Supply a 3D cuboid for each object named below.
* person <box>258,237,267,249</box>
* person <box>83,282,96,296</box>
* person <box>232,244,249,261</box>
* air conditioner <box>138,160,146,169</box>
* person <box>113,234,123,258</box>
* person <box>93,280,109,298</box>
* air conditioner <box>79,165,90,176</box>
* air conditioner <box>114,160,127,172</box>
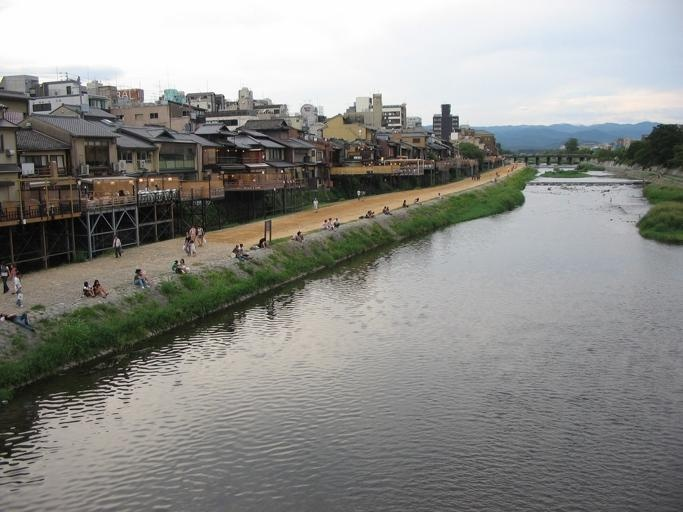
[{"bbox_3d":[-6.004,-0.927,48.600,0.530,0.865,0.847,3,-6,-34],"label":"person"},{"bbox_3d":[-13.548,1.739,34.369,0.576,0.787,0.805,-7,10,-22],"label":"person"},{"bbox_3d":[-7.156,-0.248,45.330,0.955,1.542,0.669,-2,7,5],"label":"person"},{"bbox_3d":[-16.507,-7.606,53.232,0.490,0.779,0.374,-5,9,-12],"label":"air conditioner"},{"bbox_3d":[-15.313,-0.772,43.797,0.504,1.438,2.132,-7,10,-20],"label":"person"},{"bbox_3d":[-13.104,1.669,35.063,0.772,0.896,1.632,-5,10,-9],"label":"person"},{"bbox_3d":[-18.377,-6.154,45.782,0.677,1.004,0.692,-3,5,-25],"label":"air conditioner"},{"bbox_3d":[-17.106,-7.001,49.549,0.346,1.046,1.041,0,11,10],"label":"air conditioner"}]
